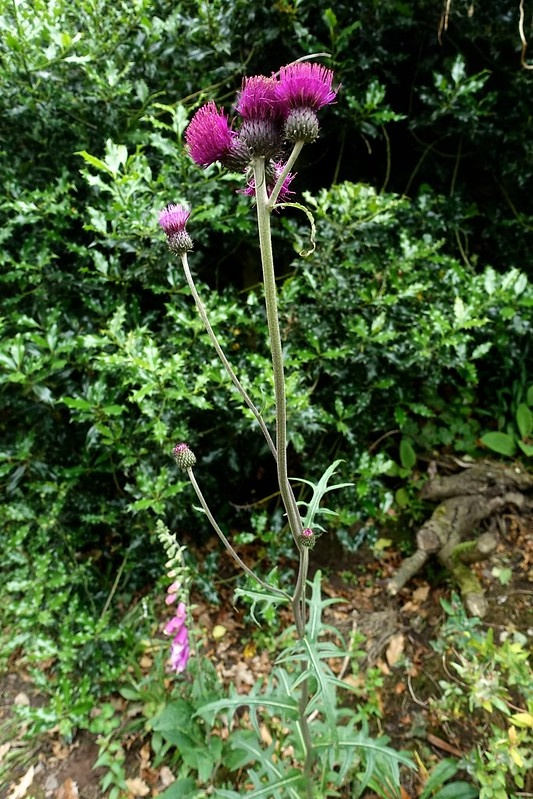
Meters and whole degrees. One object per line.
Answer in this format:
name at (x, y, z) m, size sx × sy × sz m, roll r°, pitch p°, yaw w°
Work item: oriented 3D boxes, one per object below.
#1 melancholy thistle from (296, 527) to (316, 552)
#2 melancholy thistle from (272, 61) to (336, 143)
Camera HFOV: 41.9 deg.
melancholy thistle at (0.134, 0.454, 2.246) m, size 0.070 × 0.074 × 0.067 m, roll -10°, pitch -12°, yaw 4°
melancholy thistle at (0.087, -0.829, 1.927) m, size 0.183 × 0.220 × 0.183 m, roll 9°, pitch 29°, yaw 17°
